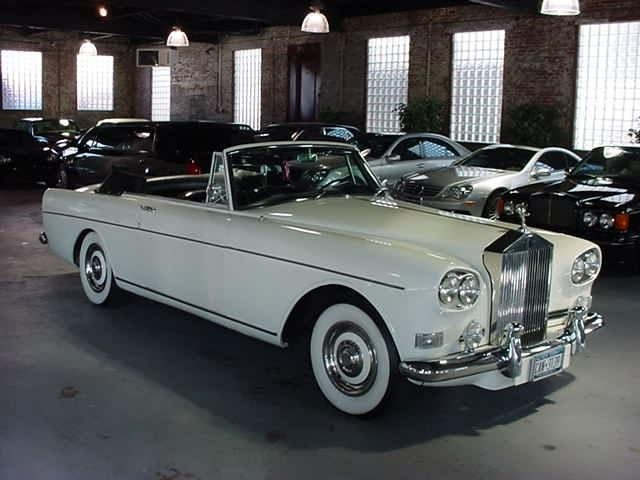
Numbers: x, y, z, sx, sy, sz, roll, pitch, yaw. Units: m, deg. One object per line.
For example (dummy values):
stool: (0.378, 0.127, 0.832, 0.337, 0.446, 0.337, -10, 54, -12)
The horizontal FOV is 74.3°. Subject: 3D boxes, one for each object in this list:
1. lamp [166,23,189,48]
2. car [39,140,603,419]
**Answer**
lamp: (-5.114, -7.407, 15.247, 0.614, 0.909, 1.130, -1, 9, -14)
car: (-0.646, 0.209, 4.268, 5.144, 1.655, 2.177, 9, 14, 38)
